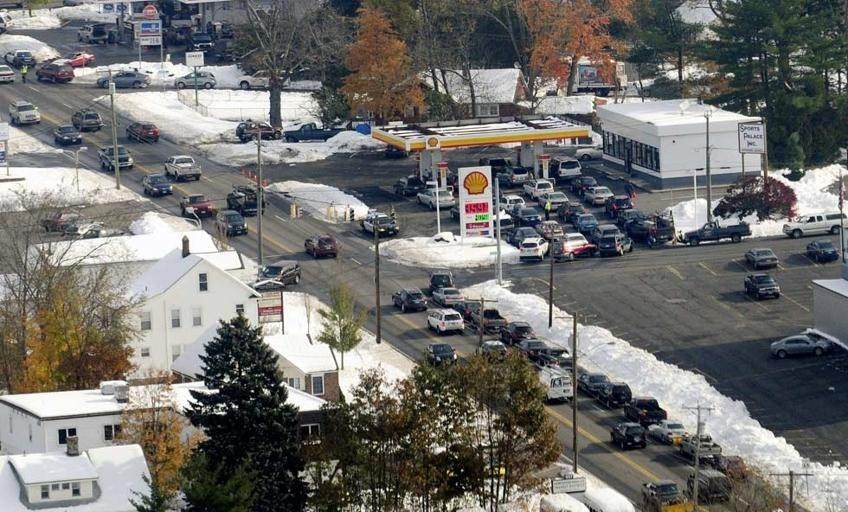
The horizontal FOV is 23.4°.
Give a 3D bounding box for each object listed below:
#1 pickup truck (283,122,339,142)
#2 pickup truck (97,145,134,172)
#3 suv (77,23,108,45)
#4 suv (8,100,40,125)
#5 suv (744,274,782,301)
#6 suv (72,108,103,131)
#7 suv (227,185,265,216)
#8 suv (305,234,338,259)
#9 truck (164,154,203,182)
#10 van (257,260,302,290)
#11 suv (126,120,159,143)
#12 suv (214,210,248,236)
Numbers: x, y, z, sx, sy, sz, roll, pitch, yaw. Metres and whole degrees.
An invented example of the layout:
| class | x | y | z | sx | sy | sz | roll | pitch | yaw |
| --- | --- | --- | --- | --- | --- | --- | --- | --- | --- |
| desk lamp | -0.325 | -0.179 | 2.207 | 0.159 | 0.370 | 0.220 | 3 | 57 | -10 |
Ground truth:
| class | x | y | z | sx | sy | sz | roll | pitch | yaw |
| --- | --- | --- | --- | --- | --- | --- | --- | --- | --- |
| pickup truck | -12.924 | -13.942 | 233.231 | 5.315 | 1.822 | 2.568 | -2 | 5 | -15 |
| pickup truck | -33.112 | -10.393 | 220.165 | 2.096 | 1.632 | 3.981 | -4 | 5 | -24 |
| suv | -42.319 | -28.300 | 262.504 | 2.240 | 1.907 | 3.381 | -6 | 18 | -27 |
| suv | -45.285 | -16.017 | 231.881 | 3.518 | 2.408 | 2.930 | 11 | 24 | 44 |
| suv | 31.891 | 2.908 | 192.757 | 1.807 | 1.477 | 3.546 | -2 | 5 | -6 |
| suv | -38.001 | -15.009 | 230.809 | 3.251 | 2.441 | 2.084 | -10 | 18 | -10 |
| suv | -18.303 | -5.538 | 209.808 | 2.600 | 2.283 | 4.174 | -6 | 16 | -27 |
| suv | -10.229 | -1.038 | 202.093 | 1.853 | 1.390 | 3.100 | -4 | 19 | -19 |
| truck | -26.051 | -9.389 | 219.082 | 2.349 | 1.629 | 3.668 | -4 | 15 | -22 |
| van | -13.801 | 1.733 | 196.602 | 2.073 | 1.559 | 3.648 | 4 | 4 | 39 |
| suv | -31.740 | -13.860 | 230.309 | 2.059 | 1.552 | 3.223 | -9 | 19 | -32 |
| suv | -19.703 | -3.320 | 206.264 | 2.048 | 1.627 | 3.142 | -6 | 10 | -24 |
